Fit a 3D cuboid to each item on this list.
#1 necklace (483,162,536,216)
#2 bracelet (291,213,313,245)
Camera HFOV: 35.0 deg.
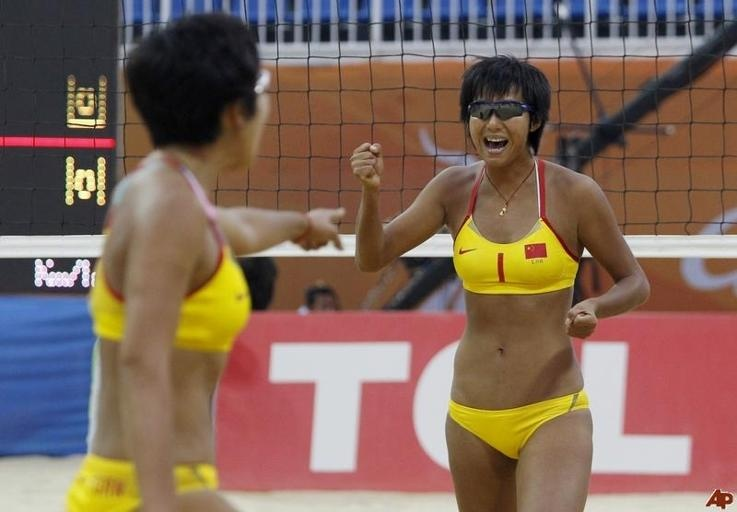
[{"bbox_3d":[0.723,-0.325,6.064,0.208,0.303,0.072,1,-17,22],"label":"necklace"},{"bbox_3d":[-0.304,-0.123,5.606,0.029,0.128,0.126,12,8,-2],"label":"bracelet"}]
